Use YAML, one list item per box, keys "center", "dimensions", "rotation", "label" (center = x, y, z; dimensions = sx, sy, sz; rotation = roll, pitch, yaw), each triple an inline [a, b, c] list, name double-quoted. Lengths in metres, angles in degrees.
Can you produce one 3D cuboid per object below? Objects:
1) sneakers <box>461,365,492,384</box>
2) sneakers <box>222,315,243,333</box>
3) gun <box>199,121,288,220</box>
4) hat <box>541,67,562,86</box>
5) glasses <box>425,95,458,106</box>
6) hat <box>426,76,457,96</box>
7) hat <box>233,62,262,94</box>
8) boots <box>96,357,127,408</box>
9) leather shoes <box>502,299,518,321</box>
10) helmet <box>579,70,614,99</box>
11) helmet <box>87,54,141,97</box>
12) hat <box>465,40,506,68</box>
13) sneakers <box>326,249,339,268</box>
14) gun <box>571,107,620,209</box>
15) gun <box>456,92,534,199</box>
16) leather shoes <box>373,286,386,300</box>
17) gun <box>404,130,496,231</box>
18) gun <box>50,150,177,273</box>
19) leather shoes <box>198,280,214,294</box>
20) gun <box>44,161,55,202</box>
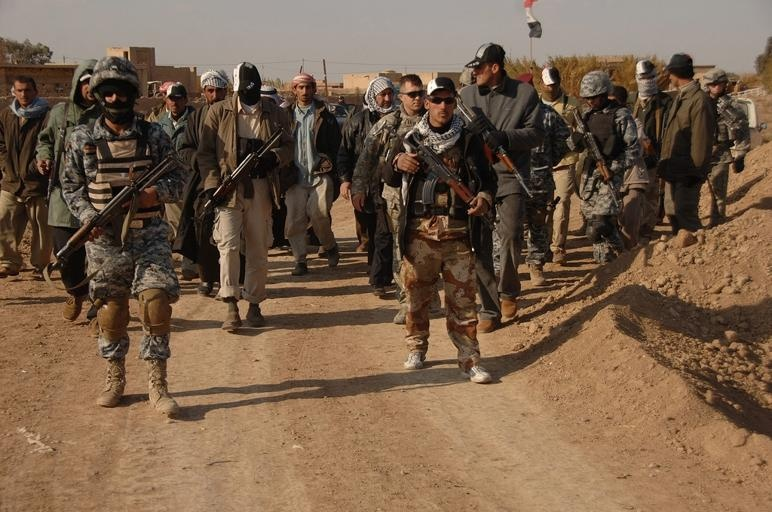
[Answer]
- center: [0.880, 1.150, 6.823]
  dimensions: [0.147, 0.106, 0.297]
  rotation: [-2, 1, -34]
  label: "sneakers"
- center: [-1.759, 0.788, 8.024]
  dimensions: [0.147, 0.153, 0.255]
  rotation: [-1, 7, -35]
  label: "sneakers"
- center: [-1.394, -0.793, 7.517]
  dimensions: [0.134, 0.590, 1.835]
  rotation: [-8, -6, -32]
  label: "gun"
- center: [2.515, -2.719, 10.630]
  dimensions: [0.259, 0.204, 0.349]
  rotation: [-1, 11, 7]
  label: "hat"
- center: [0.503, -1.418, 6.402]
  dimensions: [0.246, 0.090, 0.096]
  rotation: [-2, 15, -5]
  label: "glasses"
- center: [0.499, -1.542, 6.412]
  dimensions: [0.265, 0.159, 0.264]
  rotation: [0, 14, 3]
  label: "hat"
- center: [-1.546, -1.950, 7.700]
  dimensions: [0.293, 0.306, 0.239]
  rotation: [-3, 15, -6]
  label: "hat"
- center: [-2.523, 1.136, 6.429]
  dimensions: [0.232, 0.380, 0.597]
  rotation: [-2, 7, -8]
  label: "boots"
- center: [1.445, 0.631, 8.224]
  dimensions: [0.135, 0.325, 0.139]
  rotation: [2, 46, 7]
  label: "leather shoes"
- center: [2.755, -2.210, 9.088]
  dimensions: [0.360, 0.304, 0.433]
  rotation: [-15, 26, -28]
  label: "helmet"
- center: [-2.374, -1.549, 6.155]
  dimensions: [0.410, 0.257, 0.381]
  rotation: [5, -19, -29]
  label: "helmet"
- center: [1.105, -2.180, 7.691]
  dimensions: [0.358, 0.254, 0.259]
  rotation: [0, 15, 4]
  label: "hat"
- center: [-0.821, 0.032, 10.933]
  dimensions: [0.140, 0.337, 0.258]
  rotation: [-2, 1, 13]
  label: "sneakers"
- center: [2.796, -1.299, 9.281]
  dimensions: [0.173, 1.471, 0.566]
  rotation: [-27, 4, -3]
  label: "gun"
- center: [1.127, -1.166, 7.322]
  dimensions: [0.528, 1.351, 0.149]
  rotation: [-23, 18, 40]
  label: "gun"
- center: [-0.093, 0.499, 9.414]
  dimensions: [0.166, 0.175, 0.440]
  rotation: [0, -5, -4]
  label: "leather shoes"
- center: [0.561, -0.694, 6.561]
  dimensions: [1.283, 0.462, 0.221]
  rotation: [41, -2, -2]
  label: "gun"
- center: [-2.489, -0.419, 6.403]
  dimensions: [0.179, 1.646, 0.532]
  rotation: [42, -10, 32]
  label: "gun"
- center: [-2.435, 0.446, 9.476]
  dimensions: [0.147, 0.149, 0.391]
  rotation: [3, -3, -17]
  label: "leather shoes"
- center: [-4.101, -0.914, 8.540]
  dimensions: [0.108, 0.512, 0.210]
  rotation: [7, 9, -8]
  label: "gun"
